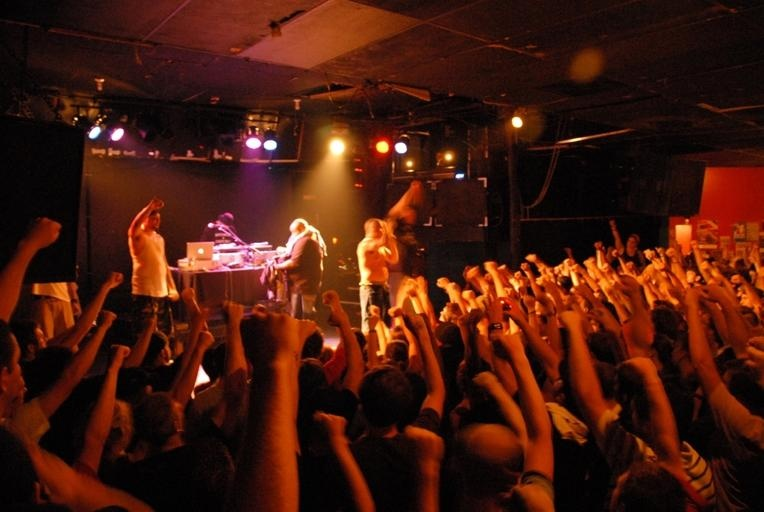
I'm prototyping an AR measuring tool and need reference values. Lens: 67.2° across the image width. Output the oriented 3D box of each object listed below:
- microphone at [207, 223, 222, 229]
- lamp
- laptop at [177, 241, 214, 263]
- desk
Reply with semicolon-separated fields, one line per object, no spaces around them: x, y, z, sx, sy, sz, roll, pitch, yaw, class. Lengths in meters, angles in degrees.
-2.696;-0.506;9.136;0.136;0.090;0.231;-1;-3;15;microphone
-1.367;-1.799;8.288;5.213;1.239;2.063;6;7;-3;lamp
-2.598;-0.082;8.156;0.377;0.243;0.259;2;13;-27;laptop
-2.220;0.411;8.126;1.023;0.769;1.609;-3;-1;44;desk
